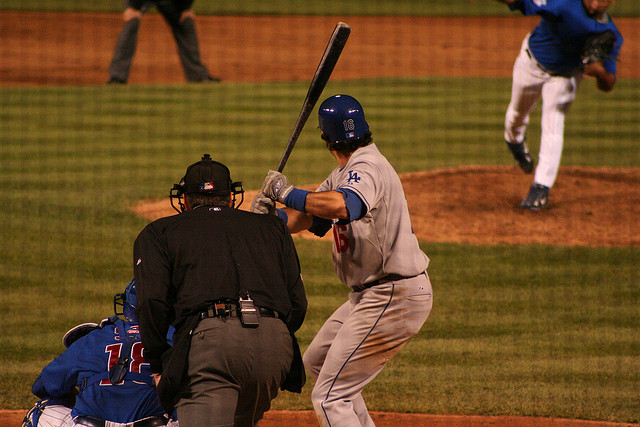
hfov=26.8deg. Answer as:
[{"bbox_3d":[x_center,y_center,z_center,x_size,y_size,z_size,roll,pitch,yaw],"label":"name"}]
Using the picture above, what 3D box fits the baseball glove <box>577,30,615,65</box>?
[{"bbox_3d":[4.268,-2.615,21.021,0.547,0.565,0.287,8,10,17],"label":"baseball glove"}]
